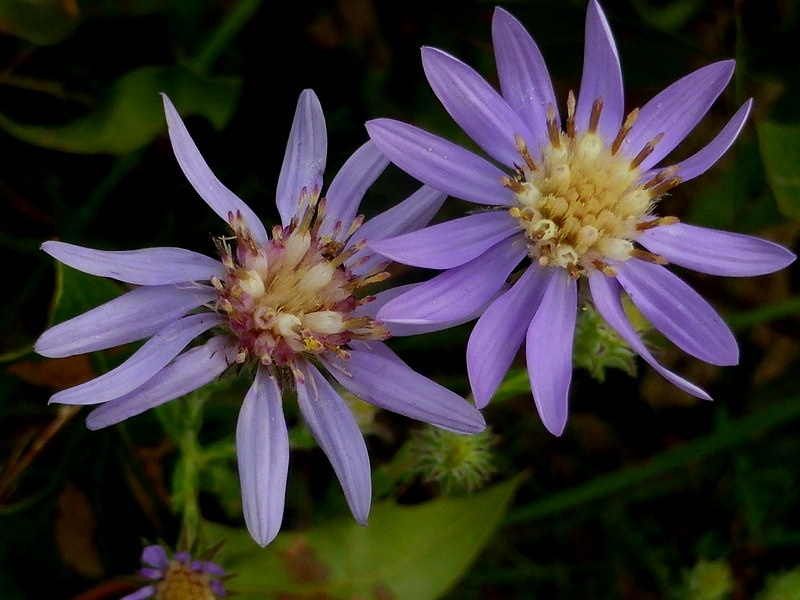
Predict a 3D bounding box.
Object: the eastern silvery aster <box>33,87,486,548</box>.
[{"bbox_3d":[-0.357,0.117,2.526,1.298,0.315,1.188,3,17,-27],"label":"eastern silvery aster"}]
